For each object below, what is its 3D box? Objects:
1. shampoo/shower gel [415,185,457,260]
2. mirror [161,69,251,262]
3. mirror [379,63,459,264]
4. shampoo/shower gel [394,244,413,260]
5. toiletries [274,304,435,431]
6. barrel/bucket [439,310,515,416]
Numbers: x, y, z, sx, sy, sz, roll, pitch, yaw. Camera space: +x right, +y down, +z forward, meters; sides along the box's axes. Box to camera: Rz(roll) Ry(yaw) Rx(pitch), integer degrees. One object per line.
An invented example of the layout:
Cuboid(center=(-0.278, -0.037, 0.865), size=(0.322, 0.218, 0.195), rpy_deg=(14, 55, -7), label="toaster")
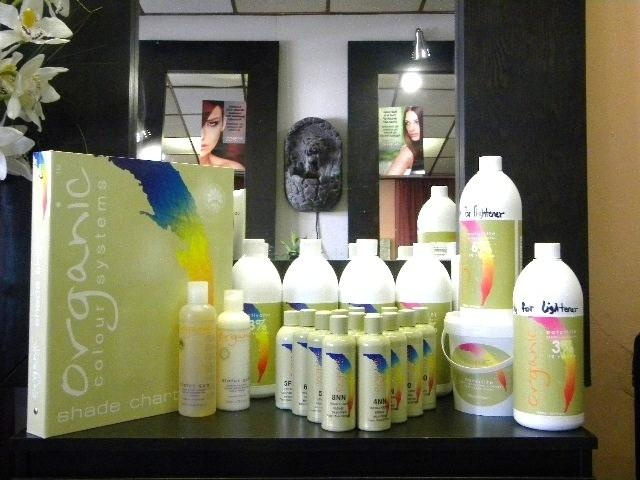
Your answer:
Cuboid(center=(0.274, -0.032, 1.532), size=(0.122, 0.178, 0.125), rpy_deg=(-1, 2, -14), label="shampoo/shower gel")
Cuboid(center=(-0.254, -0.188, 1.594), size=(0.166, 0.445, 0.035), rpy_deg=(1, 11, 2), label="mirror")
Cuboid(center=(0.229, -0.138, 1.546), size=(0.188, 0.509, 0.033), rpy_deg=(0, 4, 43), label="mirror")
Cuboid(center=(0.186, 0.027, 1.478), size=(0.029, 0.029, 0.030), rpy_deg=(-2, -8, 30), label="shampoo/shower gel")
Cuboid(center=(0.072, 0.228, 1.170), size=(0.278, 0.198, 0.192), rpy_deg=(0, 1, -5), label="toiletries")
Cuboid(center=(0.308, 0.232, 1.278), size=(0.175, 0.183, 0.173), rpy_deg=(0, -6, 0), label="barrel/bucket")
